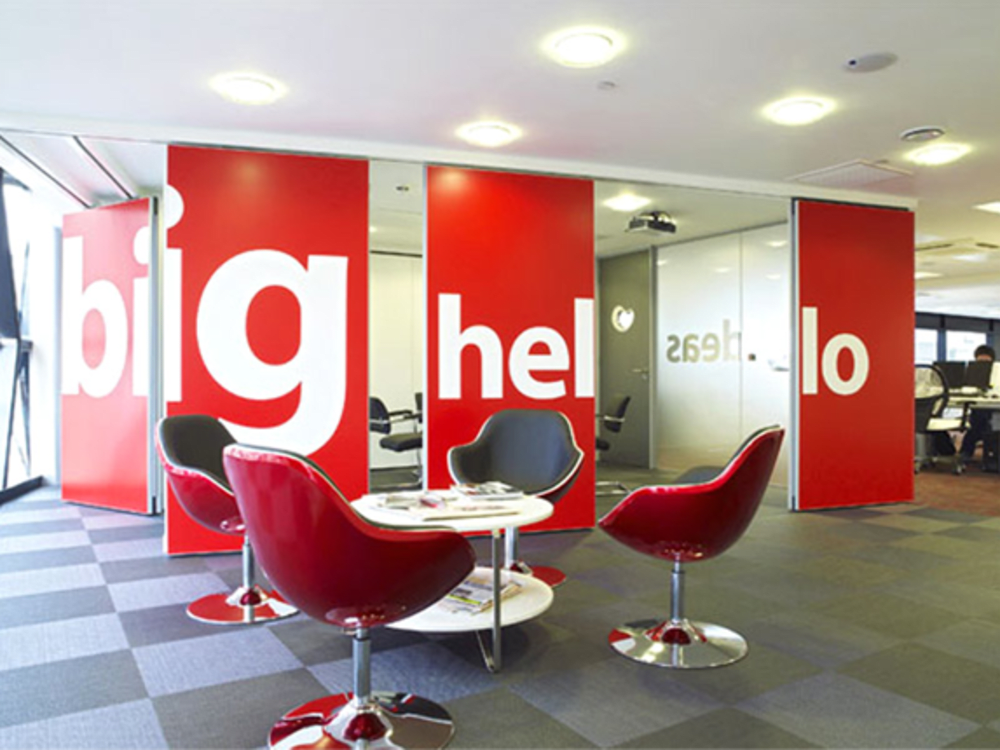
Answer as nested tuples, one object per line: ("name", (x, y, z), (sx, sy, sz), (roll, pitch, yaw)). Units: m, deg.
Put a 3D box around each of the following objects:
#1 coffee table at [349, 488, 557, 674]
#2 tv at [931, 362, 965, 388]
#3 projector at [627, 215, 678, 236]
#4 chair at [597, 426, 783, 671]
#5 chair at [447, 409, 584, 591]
("coffee table", (-0.121, 1.053, 3.955), (1.003, 0.612, 1.024), (-2, 5, -29))
("tv", (6.829, -0.015, 10.979), (0.406, 0.496, 0.426), (3, 5, 41))
("projector", (1.663, -1.677, 8.046), (0.331, 0.151, 0.315), (-2, 4, -43))
("chair", (1.065, 0.963, 4.212), (1.036, 1.190, 1.050), (4, -8, -35))
("chair", (0.104, 0.876, 5.255), (1.002, 1.122, 0.859), (1, 1, 15))
